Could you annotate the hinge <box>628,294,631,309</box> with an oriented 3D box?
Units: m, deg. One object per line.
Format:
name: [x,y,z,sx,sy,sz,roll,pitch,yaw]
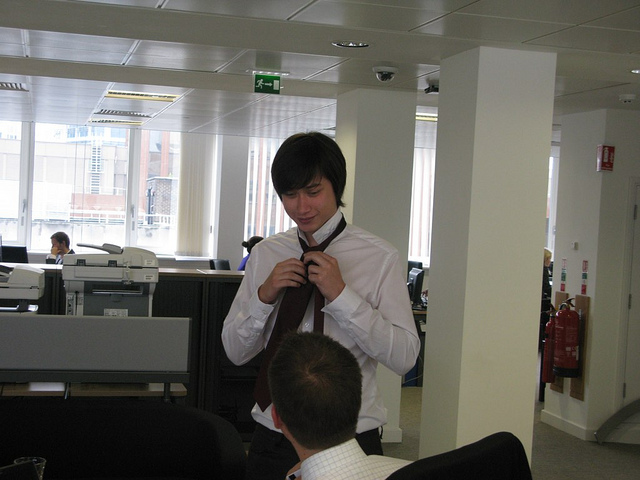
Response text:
hinge: [3.226,0.639,5.655,0.029,0.145,0.008,-1,6,-16]

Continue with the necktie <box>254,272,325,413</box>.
necktie: [-0.111,0.489,2.126,0.261,0.806,0.095,15,39,3]

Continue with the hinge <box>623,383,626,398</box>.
hinge: [3.168,1.566,5.647,0.029,0.136,0.016,0,6,-6]

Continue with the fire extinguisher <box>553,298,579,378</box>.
fire extinguisher: [2.582,1.083,5.666,0.248,0.686,0.153,4,6,27]

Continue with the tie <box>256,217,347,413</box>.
tie: [-0.086,0.194,2.003,0.227,0.855,0.030,19,-1,4]

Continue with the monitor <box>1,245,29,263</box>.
monitor: [-5.200,0.248,9.395,0.360,0.401,0.386,2,-1,28]

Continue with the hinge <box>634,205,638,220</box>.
hinge: [3.303,-0.296,5.672,0.042,0.143,0.017,-1,6,-15]

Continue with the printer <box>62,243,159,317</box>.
printer: [-1.662,0.321,4.397,0.679,0.723,0.616,3,13,-14]
